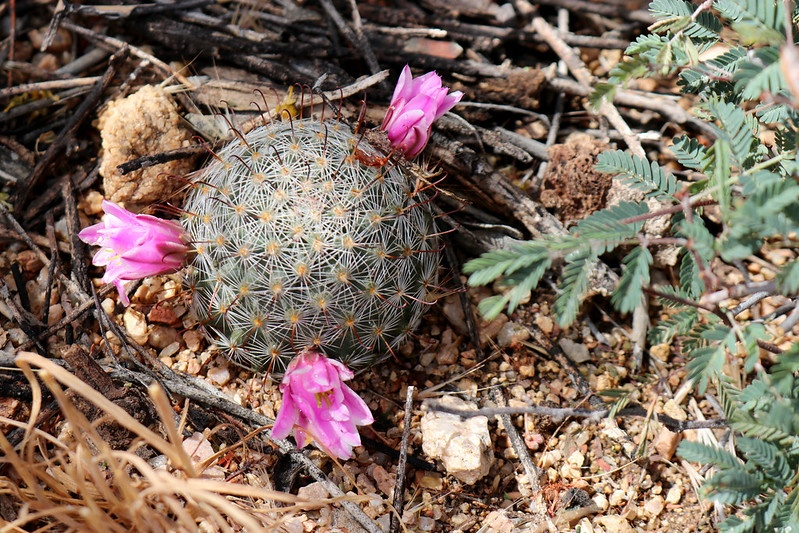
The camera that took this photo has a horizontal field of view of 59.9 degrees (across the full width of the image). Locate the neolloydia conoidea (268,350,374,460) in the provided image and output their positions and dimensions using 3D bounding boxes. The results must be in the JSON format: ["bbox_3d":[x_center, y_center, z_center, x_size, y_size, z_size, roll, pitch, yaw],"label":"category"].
[{"bbox_3d":[-0.310,0.587,2.889,0.405,0.154,0.402,19,83,-2],"label":"neolloydia conoidea"}]
